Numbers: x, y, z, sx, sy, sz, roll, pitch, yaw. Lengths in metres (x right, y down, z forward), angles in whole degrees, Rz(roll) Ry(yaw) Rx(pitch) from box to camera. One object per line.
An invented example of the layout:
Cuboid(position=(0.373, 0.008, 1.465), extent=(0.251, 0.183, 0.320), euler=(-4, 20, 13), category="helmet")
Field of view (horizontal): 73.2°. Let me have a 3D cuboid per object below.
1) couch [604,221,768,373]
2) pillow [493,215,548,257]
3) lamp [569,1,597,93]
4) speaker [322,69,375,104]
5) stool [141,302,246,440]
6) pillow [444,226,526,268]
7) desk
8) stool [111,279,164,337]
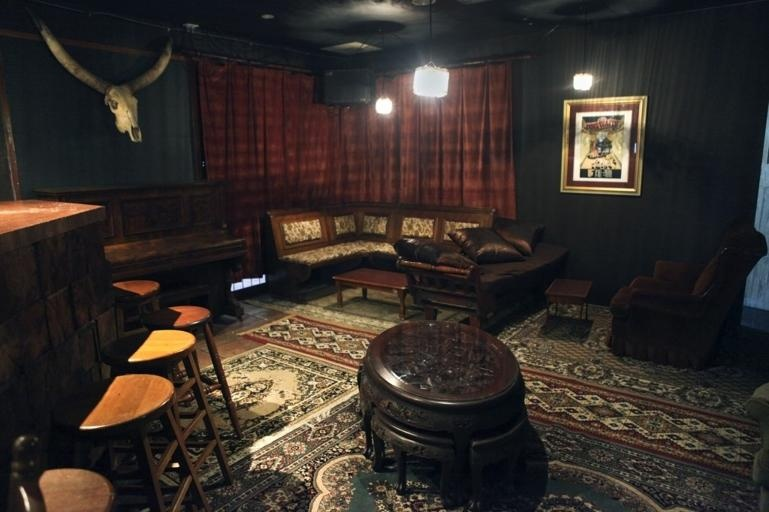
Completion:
Cuboid(position=(3.483, 0.427, 5.984), extent=(1.333, 1.451, 1.401), euler=(12, 22, 41), category="couch")
Cuboid(position=(2.023, -0.334, 7.639), extent=(0.628, 0.186, 0.649), euler=(-28, 36, -36), category="pillow")
Cuboid(position=(2.690, -2.752, 6.968), extent=(0.303, 1.027, 0.846), euler=(3, 18, 19), category="lamp")
Cuboid(position=(-0.554, -2.824, 8.988), extent=(1.040, 0.530, 0.684), euler=(1, 4, 15), category="speaker")
Cuboid(position=(-1.709, 1.083, 4.465), extent=(0.769, 0.995, 0.679), euler=(9, 23, 25), category="stool")
Cuboid(position=(1.457, -0.145, 7.245), extent=(0.612, 0.221, 0.762), euler=(-11, 30, -16), category="pillow")
Cuboid(position=(0.517, 1.370, 4.605), extent=(1.395, 0.820, 1.317), euler=(2, 15, 7), category="desk")
Cuboid(position=(-2.370, 0.493, 4.940), extent=(0.501, 0.555, 0.459), euler=(-11, 33, -30), category="stool")
